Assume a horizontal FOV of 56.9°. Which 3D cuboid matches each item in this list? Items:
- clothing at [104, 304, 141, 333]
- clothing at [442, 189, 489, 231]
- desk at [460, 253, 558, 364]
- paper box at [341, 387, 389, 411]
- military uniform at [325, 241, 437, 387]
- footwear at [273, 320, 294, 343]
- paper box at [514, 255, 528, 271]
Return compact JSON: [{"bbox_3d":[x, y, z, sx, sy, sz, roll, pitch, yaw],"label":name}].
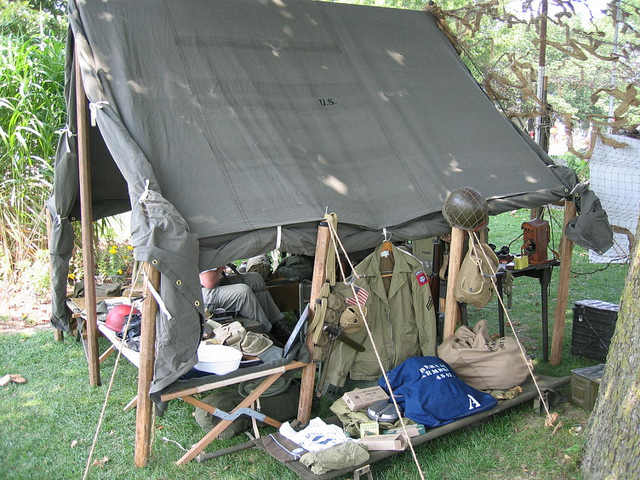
[{"bbox_3d":[-1.997,0.796,5.954,0.387,0.287,0.363,4,1,-8],"label":"clothing"},{"bbox_3d":[1.385,-0.308,5.772,0.329,0.429,0.373,-12,-39,-5],"label":"clothing"},{"bbox_3d":[2.244,0.686,7.231,1.208,1.577,0.959,-6,10,-27],"label":"desk"},{"bbox_3d":[0.401,1.419,5.361,0.328,0.083,0.191,-10,23,-31],"label":"paper box"},{"bbox_3d":[0.557,0.761,5.666,1.253,1.760,0.280,-2,2,-20],"label":"military uniform"},{"bbox_3d":[-0.453,1.106,7.003,0.118,0.278,0.368,-1,-13,-18],"label":"footwear"},{"bbox_3d":[2.171,0.221,6.430,0.114,0.164,0.202,8,10,42],"label":"paper box"}]
